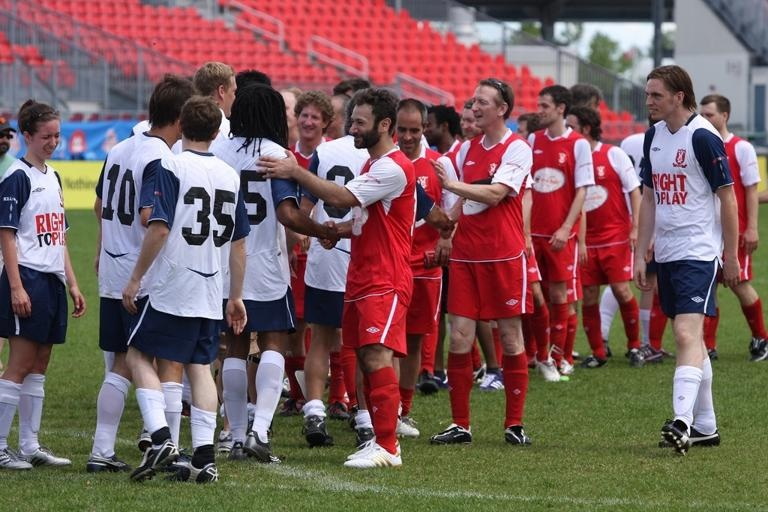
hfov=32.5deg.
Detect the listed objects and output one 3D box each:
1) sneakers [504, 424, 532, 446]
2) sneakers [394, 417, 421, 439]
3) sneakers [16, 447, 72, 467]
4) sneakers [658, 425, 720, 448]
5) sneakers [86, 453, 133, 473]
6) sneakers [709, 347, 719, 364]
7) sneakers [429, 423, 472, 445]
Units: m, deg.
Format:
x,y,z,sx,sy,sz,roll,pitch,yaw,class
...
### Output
x,y,z,sx,sy,sz,roll,pitch,yaw,class
1.435,1.917,14.136,0.147,0.136,0.291,3,5,42,sneakers
0.260,1.875,14.458,0.118,0.157,0.343,4,-9,-32,sneakers
-3.486,2.056,13.519,0.548,0.224,0.210,2,1,-7,sneakers
3.270,1.926,14.100,0.659,0.309,0.251,4,-8,-5,sneakers
-2.804,2.087,13.386,0.474,0.224,0.177,2,-2,-15,sneakers
4.215,1.239,16.749,0.094,0.140,0.296,0,9,12,sneakers
0.734,1.918,14.224,0.430,0.212,0.193,2,-6,-3,sneakers
